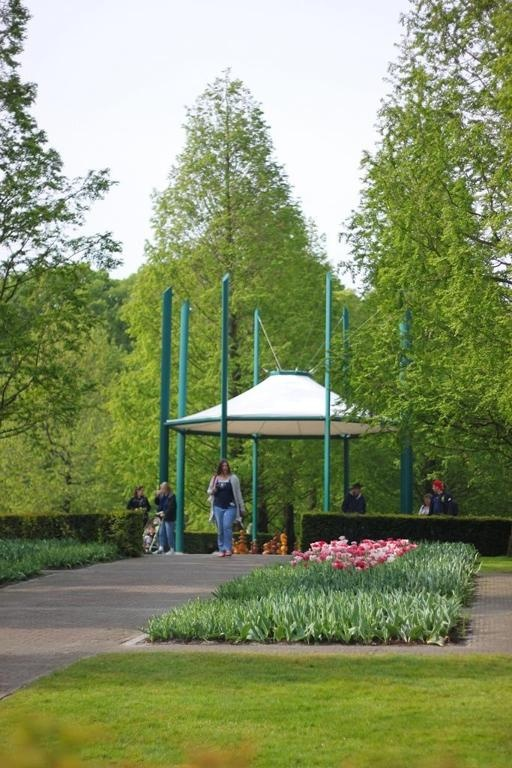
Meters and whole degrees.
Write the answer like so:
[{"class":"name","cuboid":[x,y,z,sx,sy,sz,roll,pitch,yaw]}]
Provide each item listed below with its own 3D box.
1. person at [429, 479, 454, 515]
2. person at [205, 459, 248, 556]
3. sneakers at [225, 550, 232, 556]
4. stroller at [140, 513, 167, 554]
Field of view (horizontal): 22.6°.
[{"class":"person","cuboid":[2.830,1.745,19.485,0.355,0.484,0.890,0,-9,8]},{"class":"person","cuboid":[-0.422,1.695,17.803,0.483,1.361,1.451,1,-9,-1]},{"class":"sneakers","cuboid":[-0.397,2.367,18.025,0.077,0.101,0.235,2,0,3]},{"class":"stroller","cuboid":[-1.811,2.584,22.128,0.404,0.562,0.907,3,-1,4]}]
